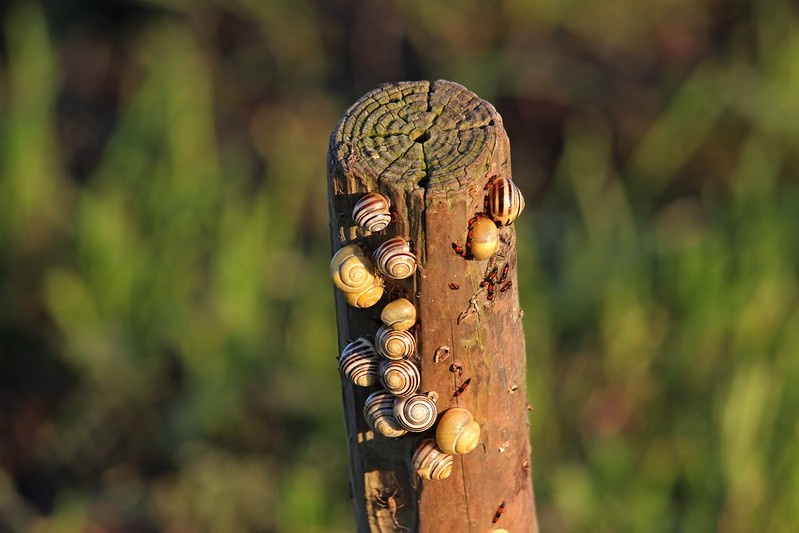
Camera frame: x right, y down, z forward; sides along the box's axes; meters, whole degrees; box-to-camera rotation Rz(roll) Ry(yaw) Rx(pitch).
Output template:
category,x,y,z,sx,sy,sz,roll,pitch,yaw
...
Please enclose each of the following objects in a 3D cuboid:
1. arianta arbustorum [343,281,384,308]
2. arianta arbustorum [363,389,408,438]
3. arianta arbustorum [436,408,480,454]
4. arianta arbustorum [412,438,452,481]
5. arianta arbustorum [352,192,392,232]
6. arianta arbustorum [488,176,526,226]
category,x,y,z,sx,sy,sz,roll,pitch,yaw
arianta arbustorum,-0.337,0.275,14.651,0.282,0.264,0.140,-39,-22,-9
arianta arbustorum,-0.150,1.482,14.893,0.404,0.426,0.253,35,5,1
arianta arbustorum,0.598,1.642,14.826,0.352,0.479,0.201,18,0,-6
arianta arbustorum,0.335,1.952,14.783,0.303,0.426,0.229,-25,-1,-9
arianta arbustorum,-0.258,-0.543,14.545,0.266,0.418,0.181,-1,15,5
arianta arbustorum,1.044,-0.665,14.561,0.284,0.493,0.261,-10,10,10
